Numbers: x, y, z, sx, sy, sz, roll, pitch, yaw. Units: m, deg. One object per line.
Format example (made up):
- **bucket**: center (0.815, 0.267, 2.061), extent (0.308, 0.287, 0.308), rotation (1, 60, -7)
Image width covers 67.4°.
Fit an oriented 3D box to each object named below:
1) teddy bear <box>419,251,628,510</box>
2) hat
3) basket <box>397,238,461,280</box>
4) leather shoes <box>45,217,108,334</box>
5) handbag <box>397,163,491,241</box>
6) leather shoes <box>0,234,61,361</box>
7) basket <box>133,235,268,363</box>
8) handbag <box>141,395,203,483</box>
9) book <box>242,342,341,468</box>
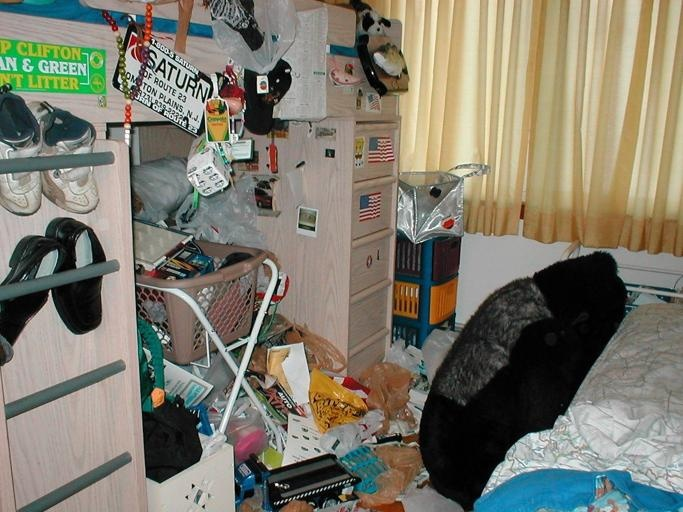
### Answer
- **teddy bear**: center (0.657, 0.448, 1.888), extent (0.492, 0.856, 0.652), rotation (13, 19, 37)
- **hat**: center (-0.285, -0.603, 1.941), extent (0.055, 0.265, 0.209), rotation (14, 19, 40)
- **basket**: center (0.501, 0.005, 2.928), extent (0.265, 0.284, 0.270), rotation (6, 8, 37)
- **leather shoes**: center (-0.612, 0.052, 1.239), extent (0.084, 0.265, 0.140), rotation (5, 28, 17)
- **handbag**: center (0.551, -0.323, 2.996), extent (0.572, 0.461, 0.376), rotation (-4, 8, -27)
- **leather shoes**: center (-0.704, 0.083, 1.158), extent (0.098, 0.267, 0.088), rotation (15, -14, 47)
- **basket**: center (-0.517, 0.150, 1.892), extent (0.460, 0.331, 0.389), rotation (17, 20, 38)
- **handbag**: center (-0.526, 0.561, 1.601), extent (0.166, 0.108, 0.268), rotation (-5, 17, -23)
- **book**: center (-0.207, 0.588, 2.194), extent (0.372, 0.314, 0.525), rotation (0, 16, -7)
